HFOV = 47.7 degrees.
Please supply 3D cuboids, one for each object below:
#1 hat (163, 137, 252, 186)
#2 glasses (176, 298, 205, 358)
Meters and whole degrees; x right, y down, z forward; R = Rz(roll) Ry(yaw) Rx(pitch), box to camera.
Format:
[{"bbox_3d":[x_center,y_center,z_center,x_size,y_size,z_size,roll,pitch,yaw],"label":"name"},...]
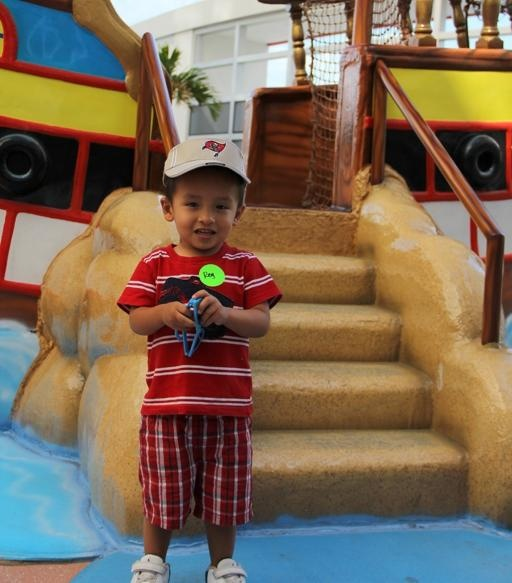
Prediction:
[{"bbox_3d":[-0.122,-0.341,1.460,0.209,0.142,0.217,2,2,-9],"label":"hat"},{"bbox_3d":[-0.143,0.086,1.330,0.030,0.128,0.088,0,19,-38],"label":"glasses"}]
